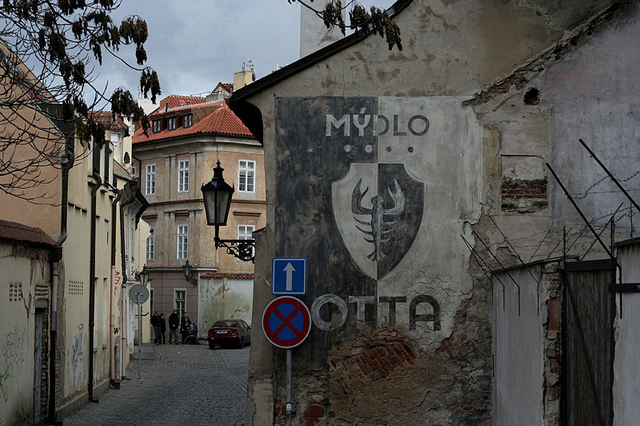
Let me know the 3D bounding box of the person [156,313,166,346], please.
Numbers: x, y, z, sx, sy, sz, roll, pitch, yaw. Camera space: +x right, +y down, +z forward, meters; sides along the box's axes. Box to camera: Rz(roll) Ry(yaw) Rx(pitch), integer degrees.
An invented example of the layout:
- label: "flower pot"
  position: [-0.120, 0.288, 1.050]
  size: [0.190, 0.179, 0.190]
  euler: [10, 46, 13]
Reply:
- label: "person"
  position: [-8.335, 6.088, 48.950]
  size: [0.494, 1.613, 2.355]
  euler: [1, -9, -10]

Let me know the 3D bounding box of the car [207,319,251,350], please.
- label: "car"
  position: [-4.492, 5.934, 45.821]
  size: [1.737, 1.538, 2.201]
  euler: [-2, -9, 6]
